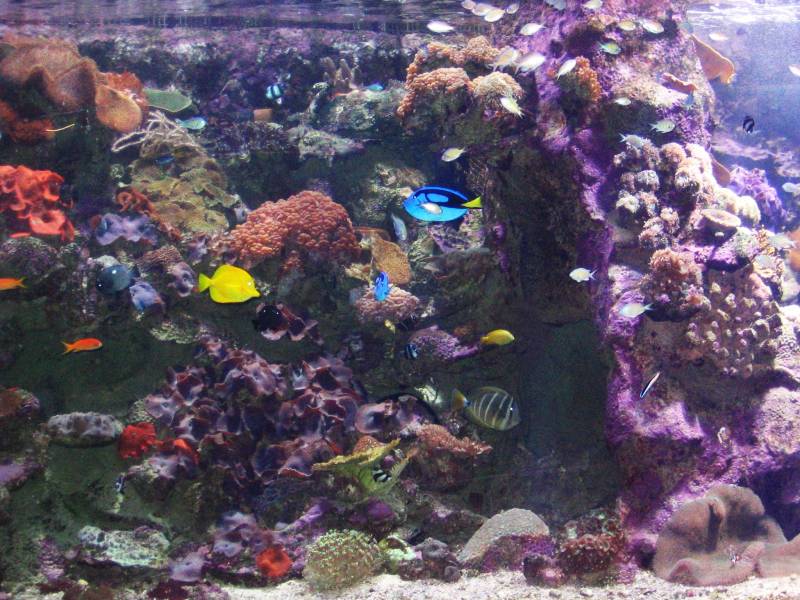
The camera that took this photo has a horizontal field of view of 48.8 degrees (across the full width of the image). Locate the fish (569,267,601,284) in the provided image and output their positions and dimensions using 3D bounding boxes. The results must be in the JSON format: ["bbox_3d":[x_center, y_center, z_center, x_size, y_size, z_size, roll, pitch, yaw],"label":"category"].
[{"bbox_3d":[2.771,-0.352,13.118,0.329,0.174,0.601,-18,-17,37],"label":"fish"}]
